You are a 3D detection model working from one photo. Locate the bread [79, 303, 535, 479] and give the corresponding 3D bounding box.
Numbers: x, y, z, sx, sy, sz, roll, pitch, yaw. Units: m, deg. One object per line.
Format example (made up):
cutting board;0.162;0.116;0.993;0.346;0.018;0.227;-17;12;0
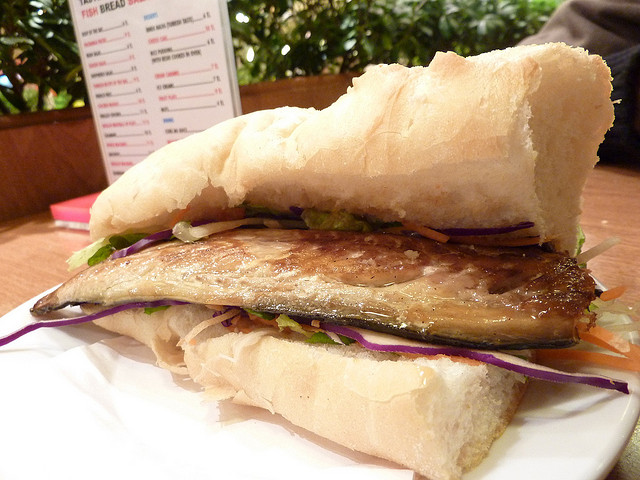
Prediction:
bread;-0.098;0.283;1.361;1.074;0.158;0.359;7;29;33
